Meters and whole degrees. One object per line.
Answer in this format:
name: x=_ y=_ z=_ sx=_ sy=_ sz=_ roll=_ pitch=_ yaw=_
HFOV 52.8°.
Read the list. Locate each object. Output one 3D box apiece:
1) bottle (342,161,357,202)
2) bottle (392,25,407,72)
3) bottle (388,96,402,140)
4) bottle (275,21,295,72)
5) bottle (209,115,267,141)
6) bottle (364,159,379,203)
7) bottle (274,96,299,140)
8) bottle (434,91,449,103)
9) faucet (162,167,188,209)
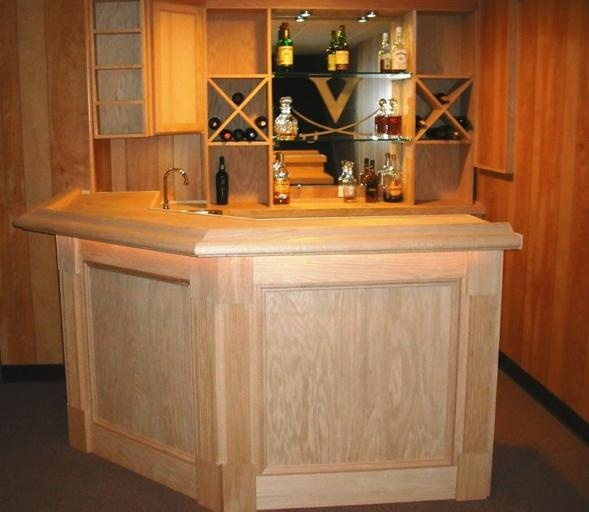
bottle: x=0.438 y=-0.538 z=4.343 sx=0.102 sy=0.298 sz=0.106 roll=-7 pitch=8 yaw=1
bottle: x=0.724 y=-1.426 z=4.085 sx=0.114 sy=0.313 sz=0.205 roll=1 pitch=12 yaw=8
bottle: x=0.713 y=-0.965 z=4.259 sx=0.124 sy=0.313 sz=0.124 roll=0 pitch=-3 yaw=0
bottle: x=-0.073 y=-1.440 z=4.077 sx=0.118 sy=0.304 sz=0.066 roll=2 pitch=12 yaw=14
bottle: x=-0.389 y=-0.867 z=4.075 sx=0.399 sy=0.163 sz=0.289 roll=-2 pitch=12 yaw=-7
bottle: x=0.550 y=-0.542 z=4.293 sx=0.097 sy=0.336 sz=0.098 roll=-4 pitch=2 yaw=0
bottle: x=-0.051 y=-0.985 z=4.252 sx=0.176 sy=0.299 sz=0.179 roll=-2 pitch=20 yaw=1
bottle: x=1.026 y=-1.088 z=4.120 sx=0.066 sy=0.039 sz=0.106 roll=-5 pitch=38 yaw=-9
faucet: x=-0.749 y=-0.377 z=3.710 sx=0.175 sy=0.342 sz=0.072 roll=-3 pitch=20 yaw=-15
